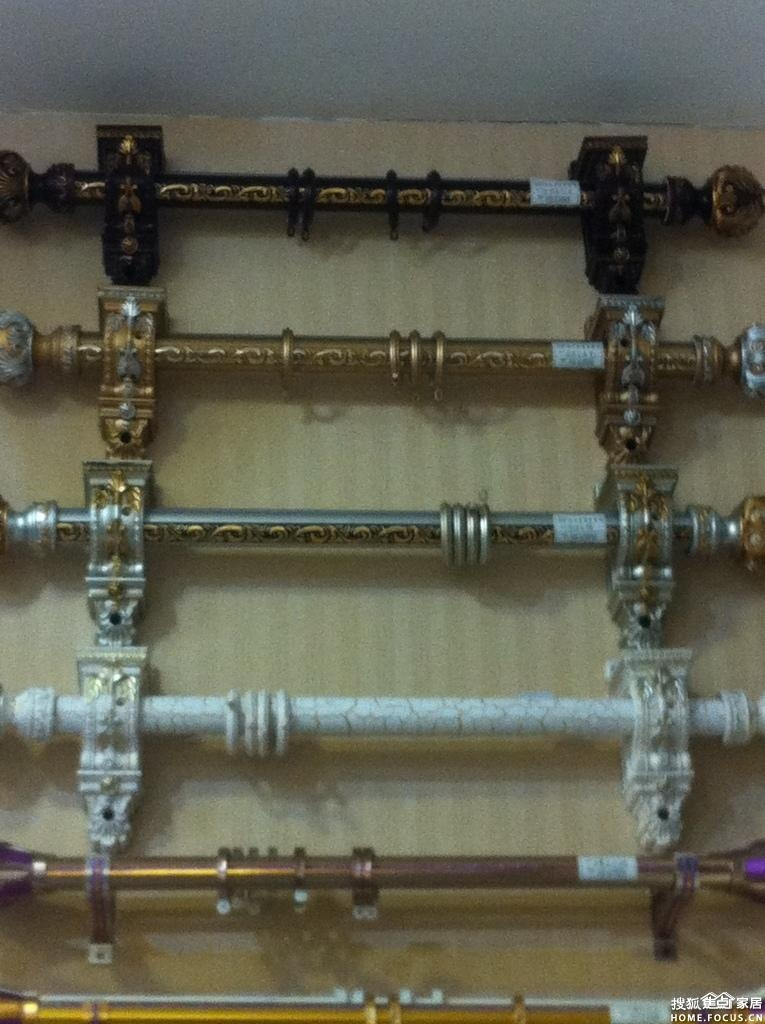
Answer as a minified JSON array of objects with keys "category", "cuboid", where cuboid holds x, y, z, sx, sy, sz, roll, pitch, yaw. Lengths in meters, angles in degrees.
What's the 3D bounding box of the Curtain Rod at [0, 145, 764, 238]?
[{"category":"Curtain Rod","cuboid":[-0.065,-0.709,6.473,1.252,0.183,0.177,0,-20,-5]}]
